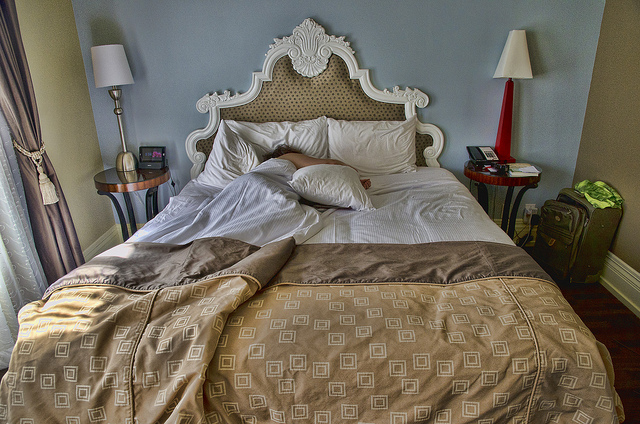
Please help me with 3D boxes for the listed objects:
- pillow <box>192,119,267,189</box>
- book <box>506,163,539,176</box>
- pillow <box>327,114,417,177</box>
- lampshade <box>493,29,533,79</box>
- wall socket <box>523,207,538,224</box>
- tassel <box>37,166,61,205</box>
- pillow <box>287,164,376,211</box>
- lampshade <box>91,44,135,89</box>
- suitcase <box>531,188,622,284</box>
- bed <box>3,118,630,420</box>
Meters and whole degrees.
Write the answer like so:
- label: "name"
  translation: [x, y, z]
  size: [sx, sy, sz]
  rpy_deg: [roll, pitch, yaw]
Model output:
- label: "pillow"
  translation: [-0.785, -0.500, 3.944]
  size: [0.596, 0.506, 0.419]
  rpy_deg: [8, 20, 26]
- label: "book"
  translation: [1.742, -0.368, 3.993]
  size: [0.241, 0.068, 0.259]
  rpy_deg: [0, 18, 4]
- label: "pillow"
  translation: [0.466, -0.577, 4.144]
  size: [0.847, 0.534, 0.257]
  rpy_deg: [0, 12, 5]
- label: "lampshade"
  translation: [1.656, -1.345, 3.949]
  size: [0.263, 0.399, 0.203]
  rpy_deg: [-3, 18, -7]
- label: "wall socket"
  translation: [2.013, 0.024, 4.405]
  size: [0.082, 0.162, 0.084]
  rpy_deg: [0, 28, 0]
- label: "tassel"
  translation: [-2.028, -0.202, 3.439]
  size: [0.115, 0.276, 0.108]
  rpy_deg: [-12, 21, -31]
- label: "pillow"
  translation: [0.014, -0.175, 3.639]
  size: [0.716, 0.192, 0.734]
  rpy_deg: [24, 2, -23]
- label: "lampshade"
  translation: [-1.799, -1.297, 3.994]
  size: [0.360, 0.357, 0.346]
  rpy_deg: [1, 13, -25]
- label: "suitcase"
  translation: [2.171, 0.216, 3.984]
  size: [0.388, 0.731, 0.497]
  rpy_deg: [-2, 20, -18]
- label: "bed"
  translation: [-0.160, 0.399, 2.923]
  size: [3.030, 1.115, 2.047]
  rpy_deg: [-5, 18, -11]
